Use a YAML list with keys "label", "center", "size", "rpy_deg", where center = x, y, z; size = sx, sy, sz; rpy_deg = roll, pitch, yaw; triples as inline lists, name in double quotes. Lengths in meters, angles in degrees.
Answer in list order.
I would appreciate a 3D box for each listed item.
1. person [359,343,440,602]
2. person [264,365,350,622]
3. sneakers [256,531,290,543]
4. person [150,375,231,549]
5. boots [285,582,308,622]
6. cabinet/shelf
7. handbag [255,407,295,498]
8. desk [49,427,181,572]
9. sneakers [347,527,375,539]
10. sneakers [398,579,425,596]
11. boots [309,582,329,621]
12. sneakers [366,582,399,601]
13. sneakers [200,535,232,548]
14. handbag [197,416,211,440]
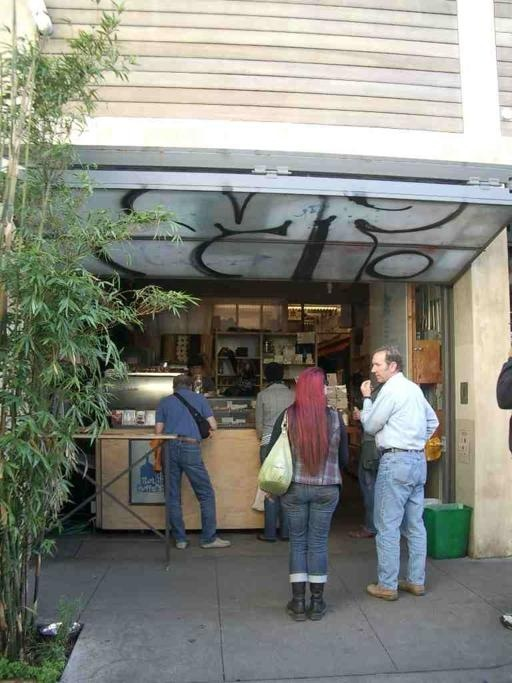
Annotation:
- label: "person"
  center: [0.905, 0.838, 3.652]
  size: [0.463, 1.587, 0.296]
  rpy_deg: [0, -2, 2]
- label: "person"
  center: [0.304, 0.872, 3.340]
  size: [0.441, 1.437, 0.267]
  rpy_deg: [0, -2, 7]
- label: "sneakers"
  center: [0.142, 1.752, 5.106]
  size: [0.329, 0.120, 0.096]
  rpy_deg: [4, -14, 0]
- label: "person"
  center: [-0.563, 1.018, 4.845]
  size: [0.602, 1.446, 0.330]
  rpy_deg: [1, -2, -22]
- label: "boots"
  center: [0.236, 1.483, 3.268]
  size: [0.116, 0.210, 0.224]
  rpy_deg: [1, -1, 0]
- label: "cabinet/shelf"
  center: [0.091, 0.360, 9.564]
  size: [1.118, 0.998, 0.328]
  rpy_deg: [-2, -4, -3]
- label: "handbag"
  center: [0.111, 0.672, 3.312]
  size: [0.190, 0.503, 0.279]
  rpy_deg: [0, -2, 2]
- label: "desk"
  center: [-1.211, 1.329, 4.676]
  size: [1.206, 1.207, 1.435]
  rpy_deg: [2, -17, -2]
- label: "sneakers"
  center: [0.963, 1.754, 5.264]
  size: [0.245, 0.095, 0.087]
  rpy_deg: [5, -7, 4]
- label: "sneakers"
  center: [1.004, 1.602, 3.714]
  size: [0.068, 0.070, 0.172]
  rpy_deg: [2, 2, -29]
- label: "boots"
  center: [0.343, 1.497, 3.337]
  size: [0.103, 0.211, 0.225]
  rpy_deg: [0, -2, 5]
- label: "sneakers"
  center: [0.791, 1.579, 3.599]
  size: [0.082, 0.080, 0.198]
  rpy_deg: [6, -5, -36]
- label: "sneakers"
  center: [-0.336, 1.700, 4.899]
  size: [0.225, 0.084, 0.098]
  rpy_deg: [0, -6, -11]
- label: "handbag"
  center: [-0.444, 0.723, 4.828]
  size: [0.065, 0.170, 0.130]
  rpy_deg: [-2, 5, -23]
